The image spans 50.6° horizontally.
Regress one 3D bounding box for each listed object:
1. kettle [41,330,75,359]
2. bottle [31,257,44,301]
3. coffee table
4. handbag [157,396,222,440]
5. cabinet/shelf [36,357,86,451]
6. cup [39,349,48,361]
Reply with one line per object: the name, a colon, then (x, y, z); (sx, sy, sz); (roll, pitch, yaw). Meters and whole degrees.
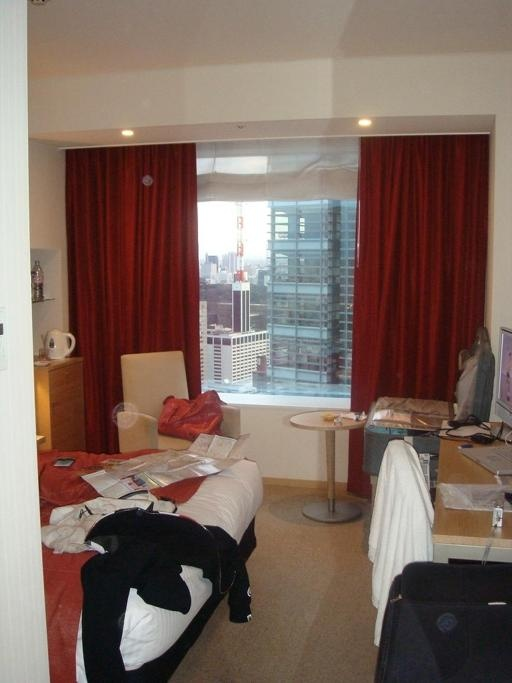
kettle: (-1.646, 0.024, 4.574); (0.259, 0.239, 0.316); (-2, 3, -22)
bottle: (-1.829, -0.519, 4.560); (0.081, 0.367, 0.267); (-2, 3, -20)
coffee table: (0.527, 0.873, 3.823); (0.498, 0.677, 0.574); (-3, 2, -27)
handbag: (-0.490, 0.545, 4.041); (0.503, 0.322, 0.403); (0, 3, 4)
cabinet/shelf: (-1.559, 0.484, 4.311); (0.257, 0.728, 0.762); (0, 2, 6)
cup: (-1.772, 0.098, 4.538); (0.072, 0.097, 0.094); (-1, -5, 11)
